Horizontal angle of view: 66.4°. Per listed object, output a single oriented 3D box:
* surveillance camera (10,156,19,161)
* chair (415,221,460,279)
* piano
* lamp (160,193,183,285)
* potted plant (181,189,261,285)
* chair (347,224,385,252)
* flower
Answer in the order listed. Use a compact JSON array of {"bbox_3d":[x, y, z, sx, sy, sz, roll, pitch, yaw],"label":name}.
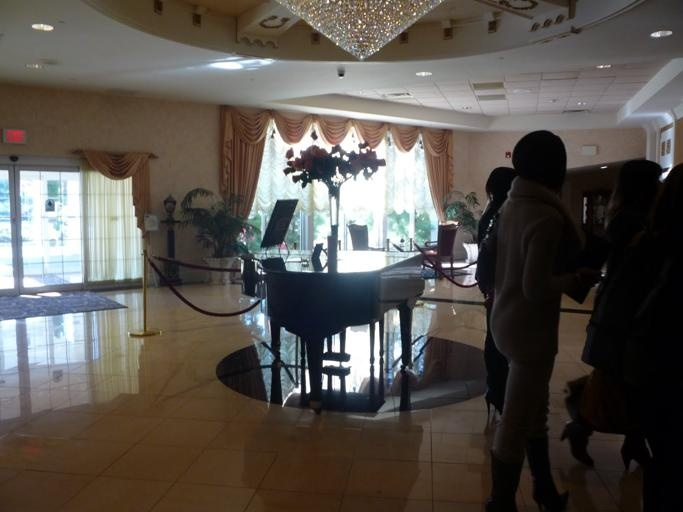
[{"bbox_3d":[-5.607,-1.683,8.936,0.074,0.082,0.023,0,2,-27],"label":"surveillance camera"},{"bbox_3d":[2.042,-0.136,10.893,0.662,1.088,0.741,0,5,-19],"label":"chair"},{"bbox_3d":[0.043,0.414,4.579,1.026,1.124,2.168,0,3,11],"label":"piano"},{"bbox_3d":[-3.320,-0.321,10.173,0.325,1.719,0.616,-3,6,-19],"label":"lamp"},{"bbox_3d":[-2.481,-0.482,10.449,1.364,1.779,0.826,-2,5,-4],"label":"potted plant"},{"bbox_3d":[0.448,-0.374,9.405,0.530,0.817,0.487,2,5,35],"label":"chair"},{"bbox_3d":[0.026,-0.845,4.914,0.693,0.474,0.718,6,10,38],"label":"flower"}]
